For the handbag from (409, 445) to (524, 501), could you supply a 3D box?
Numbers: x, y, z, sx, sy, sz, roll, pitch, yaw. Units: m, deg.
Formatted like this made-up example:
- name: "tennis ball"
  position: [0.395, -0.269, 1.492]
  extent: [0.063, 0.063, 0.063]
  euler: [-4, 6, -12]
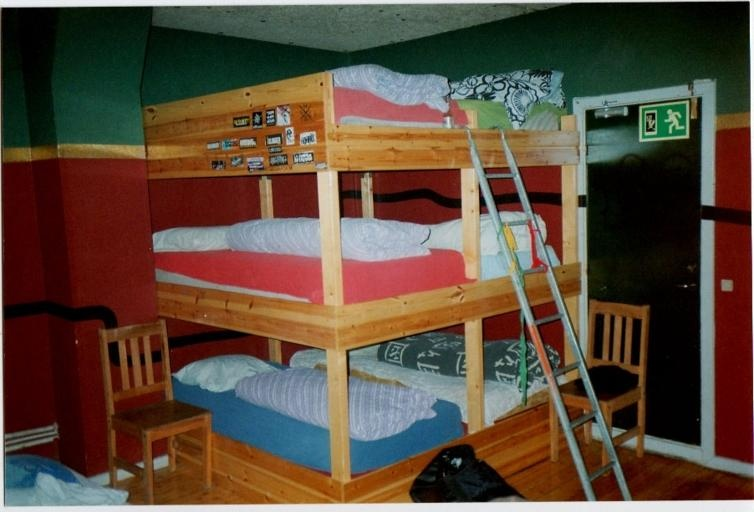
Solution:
- name: "handbag"
  position: [0.608, 1.625, 4.410]
  extent: [0.679, 0.282, 0.408]
  euler: [-8, 10, -33]
